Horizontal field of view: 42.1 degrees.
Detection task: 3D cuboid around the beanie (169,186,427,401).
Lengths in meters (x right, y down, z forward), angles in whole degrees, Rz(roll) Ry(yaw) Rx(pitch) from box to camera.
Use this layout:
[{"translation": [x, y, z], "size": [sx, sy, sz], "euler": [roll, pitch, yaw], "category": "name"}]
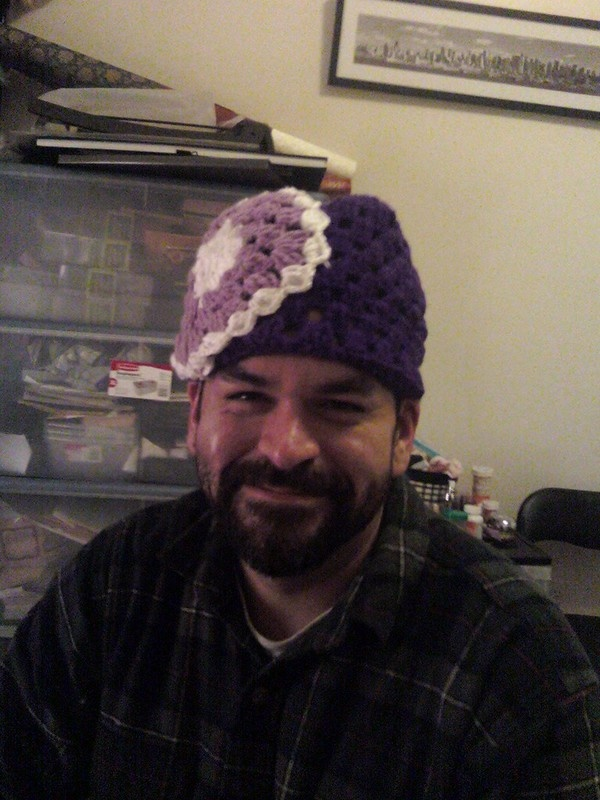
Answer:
[{"translation": [-0.012, -0.127, 1.127], "size": [0.312, 0.220, 0.276], "euler": [-2, 1, 29], "category": "beanie"}]
